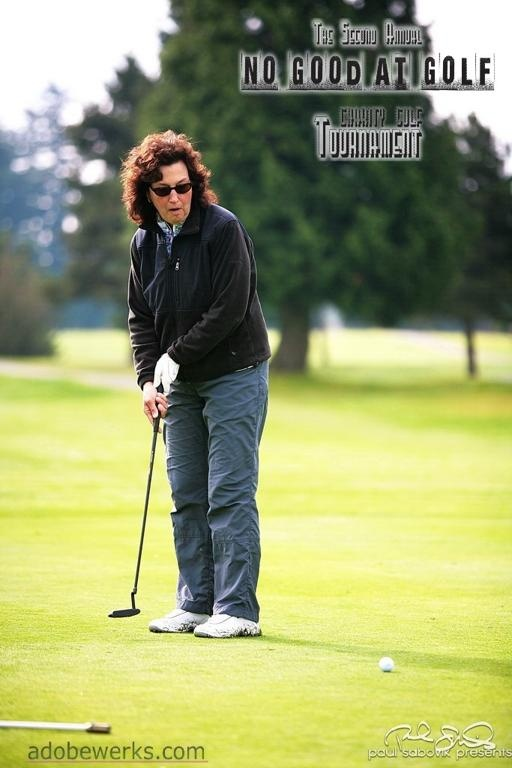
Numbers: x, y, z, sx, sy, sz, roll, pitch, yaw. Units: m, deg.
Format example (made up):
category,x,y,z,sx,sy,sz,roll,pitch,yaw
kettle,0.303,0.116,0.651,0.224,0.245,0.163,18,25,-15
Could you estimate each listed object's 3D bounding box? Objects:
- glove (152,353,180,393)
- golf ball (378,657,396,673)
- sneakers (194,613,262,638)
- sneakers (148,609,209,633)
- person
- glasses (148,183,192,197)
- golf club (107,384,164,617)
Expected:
category,x,y,z,sx,sy,sz,roll,pitch,yaw
glove,-0.277,-0.030,3.130,0.083,0.122,0.041,11,24,23
golf ball,0.331,0.714,2.562,0.032,0.031,0.032,10,-32,6
sneakers,-0.081,0.705,2.960,0.203,0.081,0.072,4,-7,-13
sneakers,-0.237,0.717,3.069,0.179,0.066,0.062,4,-7,-29
person,-0.203,-0.008,3.090,0.471,1.530,0.461,1,5,4
glasses,-0.254,-0.574,3.005,0.116,0.045,0.056,0,5,-3
golf club,-0.368,0.431,3.210,0.041,0.653,0.123,-8,-23,39
